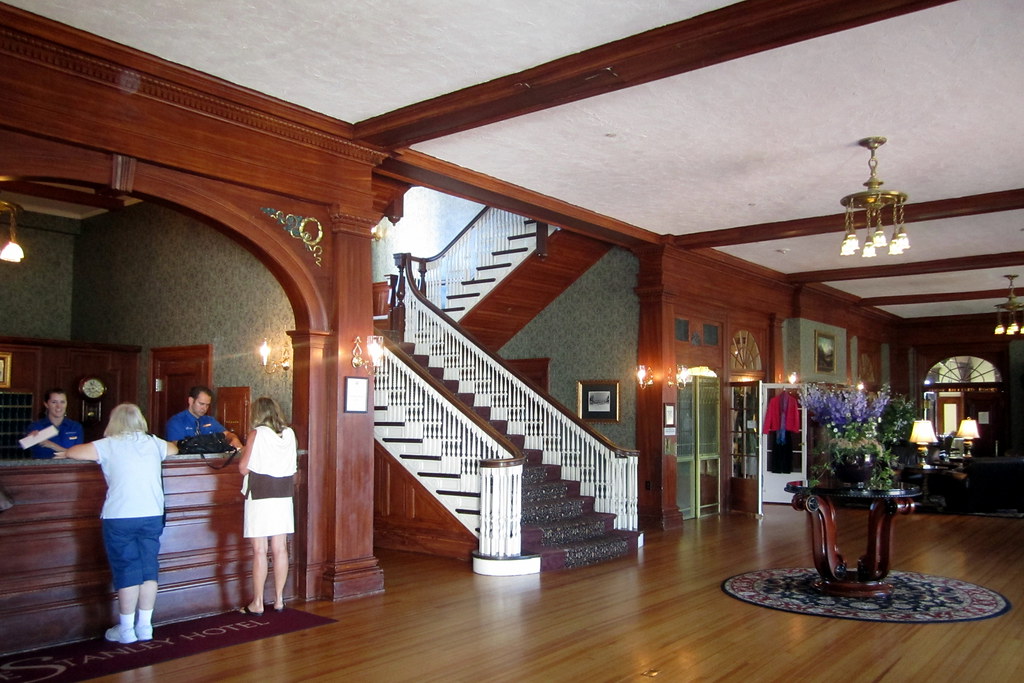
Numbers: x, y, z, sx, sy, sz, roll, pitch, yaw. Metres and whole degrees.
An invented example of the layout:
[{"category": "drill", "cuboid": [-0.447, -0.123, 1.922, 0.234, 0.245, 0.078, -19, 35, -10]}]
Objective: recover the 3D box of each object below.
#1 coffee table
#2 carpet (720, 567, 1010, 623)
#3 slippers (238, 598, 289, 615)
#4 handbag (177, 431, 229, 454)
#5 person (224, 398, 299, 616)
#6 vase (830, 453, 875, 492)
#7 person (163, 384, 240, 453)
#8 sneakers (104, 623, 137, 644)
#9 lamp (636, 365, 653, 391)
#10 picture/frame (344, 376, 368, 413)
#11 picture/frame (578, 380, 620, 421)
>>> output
[{"category": "coffee table", "cuboid": [3.849, 2.152, 7.706, 1.391, 0.957, 1.403, 0, -2, 17]}, {"category": "carpet", "cuboid": [3.771, 2.655, 7.176, 2.836, 0.114, 1.660, 1, -4, 3]}, {"category": "slippers", "cuboid": [-2.410, 2.527, 6.485, 0.426, 0.101, 0.152, 2, -5, 2]}, {"category": "handbag", "cuboid": [-2.982, 0.988, 6.533, 0.500, 0.191, 0.206, 3, -5, -25]}, {"category": "person", "cuboid": [-2.343, 1.556, 6.400, 0.488, 2.035, 0.349, 3, -5, -20]}, {"category": "vase", "cuboid": [3.768, 1.434, 7.492, 0.412, 0.306, 0.415, 0, -9, 3]}, {"category": "person", "cuboid": [-3.416, 0.954, 7.364, 0.575, 0.869, 0.698, 5, 5, 28]}, {"category": "sneakers", "cuboid": [-3.316, 2.441, 5.687, 0.256, 0.091, 0.130, 7, 3, 26]}, {"category": "lamp", "cuboid": [2.184, 0.571, 11.192, 0.189, 0.398, 0.358, 5, -6, -38]}, {"category": "picture/frame", "cuboid": [-1.658, 0.559, 7.177, 0.068, 0.379, 0.323, -2, -5, 30]}, {"category": "picture/frame", "cuboid": [1.543, 1.029, 11.674, 0.792, 0.667, 0.054, -2, -3, 27]}]
